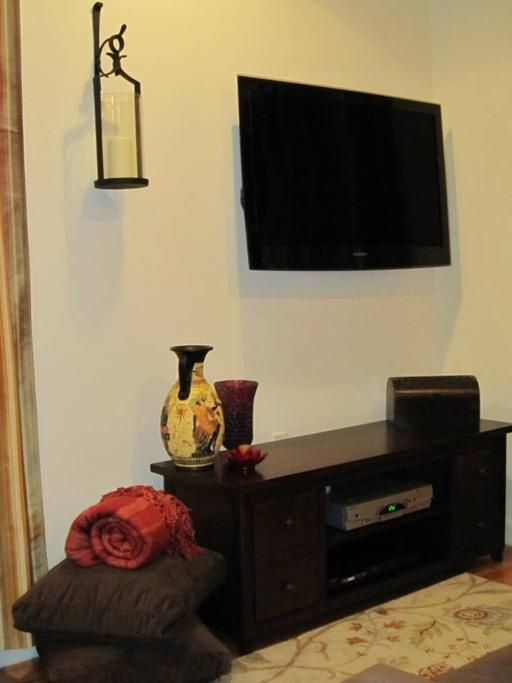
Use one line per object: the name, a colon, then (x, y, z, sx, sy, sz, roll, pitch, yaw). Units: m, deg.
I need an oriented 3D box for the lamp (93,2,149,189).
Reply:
lamp: (-0.422, -0.746, 2.141, 0.158, 0.567, 0.279, -2, 7, -9)

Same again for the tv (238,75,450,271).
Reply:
tv: (0.370, -0.616, 2.745, 1.036, 0.679, 0.053, -7, 9, -36)

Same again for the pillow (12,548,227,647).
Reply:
pillow: (-0.336, 0.625, 1.823, 0.430, 0.143, 0.379, 0, 8, 12)

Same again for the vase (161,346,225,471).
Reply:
vase: (-0.194, 0.196, 2.166, 0.193, 0.367, 0.185, -2, 7, -4)
